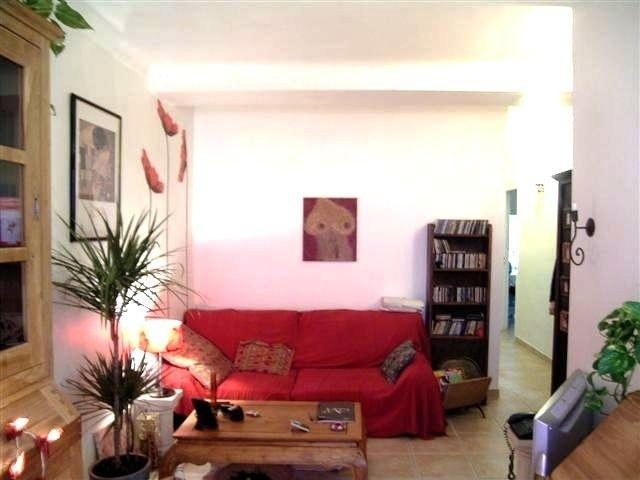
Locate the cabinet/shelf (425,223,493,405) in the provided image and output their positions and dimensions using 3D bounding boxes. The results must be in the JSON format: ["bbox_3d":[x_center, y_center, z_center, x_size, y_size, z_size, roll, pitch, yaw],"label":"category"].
[{"bbox_3d":[1.543,0.639,5.449,0.619,2.026,0.345,2,32,16],"label":"cabinet/shelf"}]

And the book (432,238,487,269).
[{"bbox_3d":[1.487,0.152,5.152,0.562,0.320,0.170,0,4,11],"label":"book"}]

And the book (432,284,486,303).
[{"bbox_3d":[1.482,0.588,5.205,0.564,0.184,0.144,0,3,4],"label":"book"}]

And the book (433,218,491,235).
[{"bbox_3d":[1.503,-0.123,5.185,0.579,0.193,0.144,-1,3,-4],"label":"book"}]

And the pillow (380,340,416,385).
[{"bbox_3d":[0.772,1.147,4.777,0.409,0.117,0.420,-32,16,-26],"label":"pillow"}]

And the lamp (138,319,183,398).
[{"bbox_3d":[-1.411,1.040,4.303,0.309,0.701,0.309,7,10,14],"label":"lamp"}]
